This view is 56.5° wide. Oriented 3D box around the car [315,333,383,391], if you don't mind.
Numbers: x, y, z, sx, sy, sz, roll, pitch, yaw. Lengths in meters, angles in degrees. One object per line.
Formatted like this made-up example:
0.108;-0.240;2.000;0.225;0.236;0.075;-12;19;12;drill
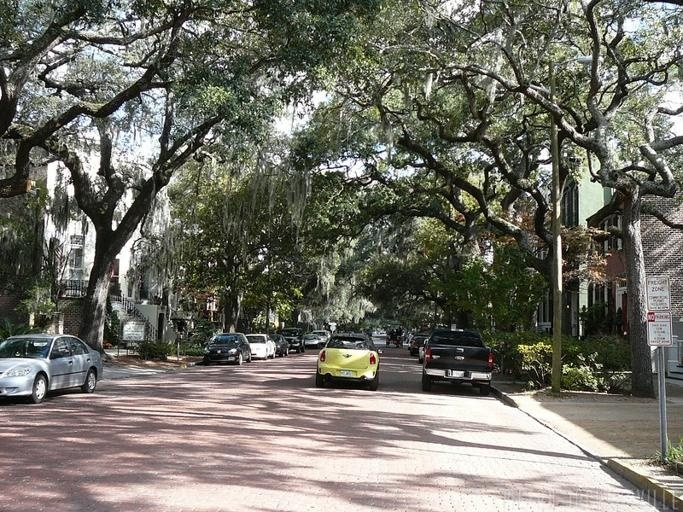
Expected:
0.325;3.732;22.910;1.352;1.333;2.468;1;-1;6;car

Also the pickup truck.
4.097;3.652;22.383;1.482;1.600;3.281;2;-2;0;pickup truck
